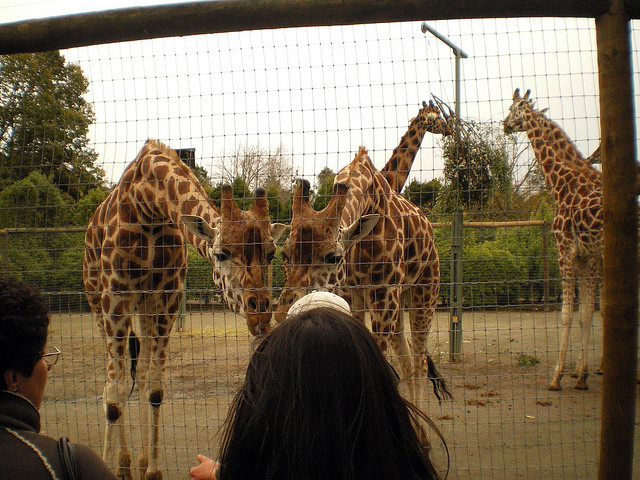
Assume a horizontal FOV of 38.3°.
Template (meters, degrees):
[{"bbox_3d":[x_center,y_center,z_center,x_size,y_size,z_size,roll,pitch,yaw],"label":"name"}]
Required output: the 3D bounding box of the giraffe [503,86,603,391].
[{"bbox_3d":[2.711,-0.178,10.619,1.063,3.810,2.920,0,-4,14],"label":"giraffe"}]

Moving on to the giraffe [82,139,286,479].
[{"bbox_3d":[-1.483,0.599,8.784,2.280,3.316,0.969,-2,-4,32],"label":"giraffe"}]

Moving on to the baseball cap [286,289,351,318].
[{"bbox_3d":[-0.011,0.456,6.675,0.455,0.196,0.557,1,-4,-2],"label":"baseball cap"}]

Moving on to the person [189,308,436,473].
[{"bbox_3d":[0.019,1.133,6.632,1.259,0.985,0.976,-7,-9,16],"label":"person"}]
